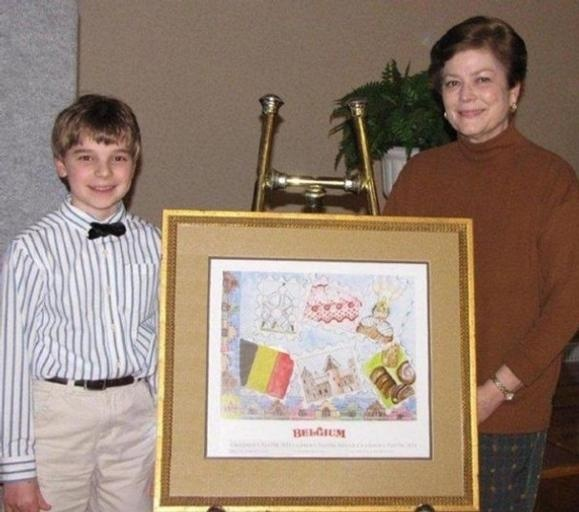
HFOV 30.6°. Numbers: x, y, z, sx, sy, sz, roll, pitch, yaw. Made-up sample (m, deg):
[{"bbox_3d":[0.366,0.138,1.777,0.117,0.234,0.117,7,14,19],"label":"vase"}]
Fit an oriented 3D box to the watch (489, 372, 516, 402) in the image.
[{"bbox_3d":[0.647,0.398,3.248,0.026,0.069,0.073,-36,-12,-1],"label":"watch"}]
